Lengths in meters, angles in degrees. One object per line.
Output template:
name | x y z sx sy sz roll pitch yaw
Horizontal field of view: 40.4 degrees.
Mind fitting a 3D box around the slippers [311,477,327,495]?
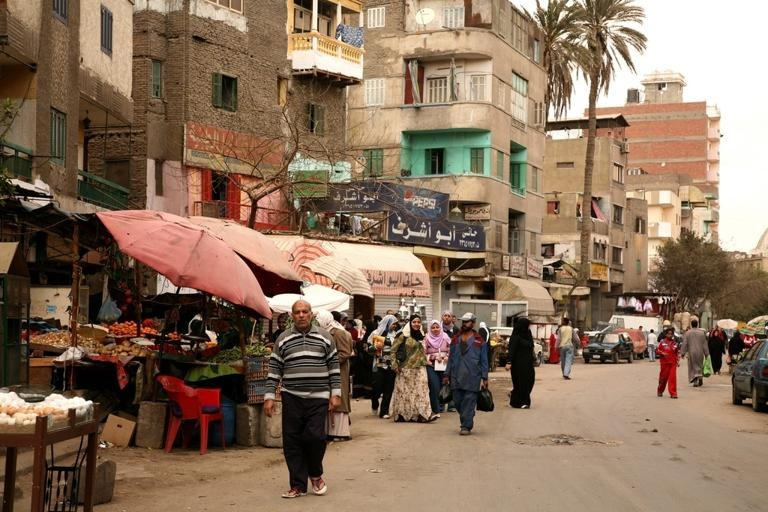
slippers | -1.113 3.923 17.962 0.246 0.282 0.313 1 -8 -4

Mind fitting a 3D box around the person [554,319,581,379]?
person | 6.447 3.273 36.903 0.851 2.115 0.688 5 -10 -4

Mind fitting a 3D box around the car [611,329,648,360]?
car | 12.757 4.536 54.178 1.426 1.252 2.540 -3 -10 18

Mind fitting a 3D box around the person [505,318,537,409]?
person | 3.548 2.765 27.164 0.618 2.312 0.697 0 -7 6

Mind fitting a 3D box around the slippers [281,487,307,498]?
slippers | -1.523 3.989 17.757 0.416 0.154 0.151 7 -9 -31

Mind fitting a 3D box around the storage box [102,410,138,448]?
storage box | -5.450 3.381 20.834 0.862 0.464 0.867 -7 -24 33

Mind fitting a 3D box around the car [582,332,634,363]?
car | 10.581 4.316 49.100 1.301 0.971 2.325 -5 -9 26

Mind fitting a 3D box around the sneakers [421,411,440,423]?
sneakers | 1.076 3.904 25.187 0.164 0.221 0.516 1 -20 -10

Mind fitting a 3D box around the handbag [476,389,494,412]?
handbag | 2.207 3.180 23.411 0.256 0.481 0.644 -6 -10 39

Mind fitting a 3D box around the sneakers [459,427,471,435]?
sneakers | 1.756 3.799 22.888 0.248 0.159 0.310 0 -8 1
